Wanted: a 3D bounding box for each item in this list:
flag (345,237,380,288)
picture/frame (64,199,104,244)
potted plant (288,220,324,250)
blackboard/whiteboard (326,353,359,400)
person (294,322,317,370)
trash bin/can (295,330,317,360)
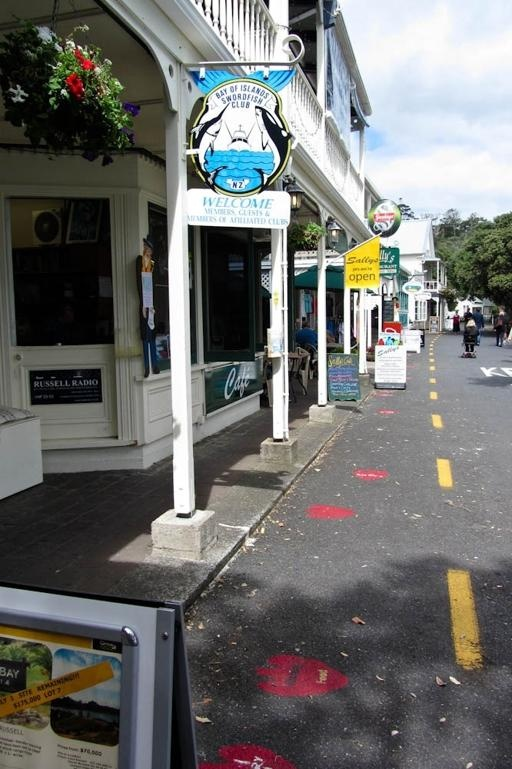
[{"bbox_3d":[2.156,-2.517,12.433,0.756,0.705,0.487,9,6,15],"label":"flag"},{"bbox_3d":[-1.920,-1.840,6.722,0.327,0.646,0.042,9,6,-8],"label":"picture/frame"},{"bbox_3d":[0.765,-2.354,9.660,0.468,0.295,0.499,-1,-2,14],"label":"potted plant"},{"bbox_3d":[1.774,-0.124,12.420,0.754,1.065,0.501,8,5,8],"label":"blackboard/whiteboard"},{"bbox_3d":[1.334,-1.022,16.189,0.553,1.631,0.498,3,36,11],"label":"person"},{"bbox_3d":[1.245,-0.998,15.226,0.651,0.815,0.397,7,16,30],"label":"trash bin/can"}]
